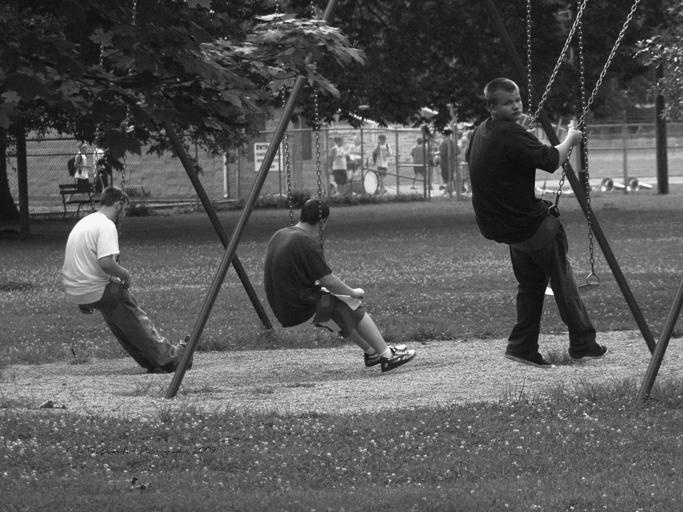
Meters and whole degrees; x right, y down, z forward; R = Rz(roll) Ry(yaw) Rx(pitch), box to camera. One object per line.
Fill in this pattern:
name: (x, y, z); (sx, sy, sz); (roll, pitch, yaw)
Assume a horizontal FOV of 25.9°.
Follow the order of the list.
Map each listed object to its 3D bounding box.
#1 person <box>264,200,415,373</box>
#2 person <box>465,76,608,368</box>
person: (-0.043, 0.296, 15.035); (1.589, 1.766, 0.876); (-2, 3, -27)
person: (1.858, -0.260, 14.456); (1.404, 2.656, 1.087); (-1, 2, 4)
